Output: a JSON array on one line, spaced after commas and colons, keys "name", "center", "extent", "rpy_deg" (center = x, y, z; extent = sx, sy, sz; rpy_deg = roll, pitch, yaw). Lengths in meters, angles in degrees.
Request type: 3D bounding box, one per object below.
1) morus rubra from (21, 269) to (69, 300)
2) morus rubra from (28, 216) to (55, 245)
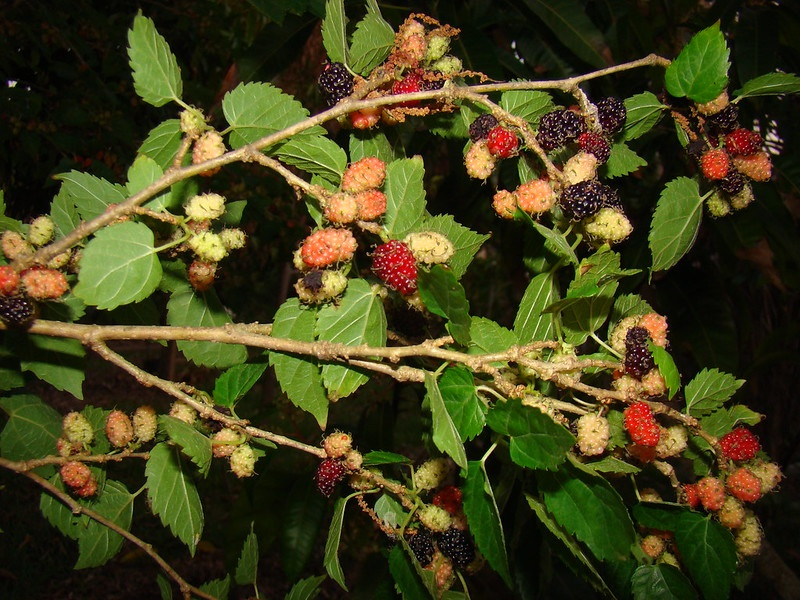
[{"name": "morus rubra", "center": [-0.696, -0.030, 1.510], "extent": [0.074, 0.064, 0.040], "rpy_deg": [-22, 50, -16]}, {"name": "morus rubra", "center": [-0.726, -0.139, 1.556], "extent": [0.035, 0.058, 0.045], "rpy_deg": [-5, 50, -48]}]
